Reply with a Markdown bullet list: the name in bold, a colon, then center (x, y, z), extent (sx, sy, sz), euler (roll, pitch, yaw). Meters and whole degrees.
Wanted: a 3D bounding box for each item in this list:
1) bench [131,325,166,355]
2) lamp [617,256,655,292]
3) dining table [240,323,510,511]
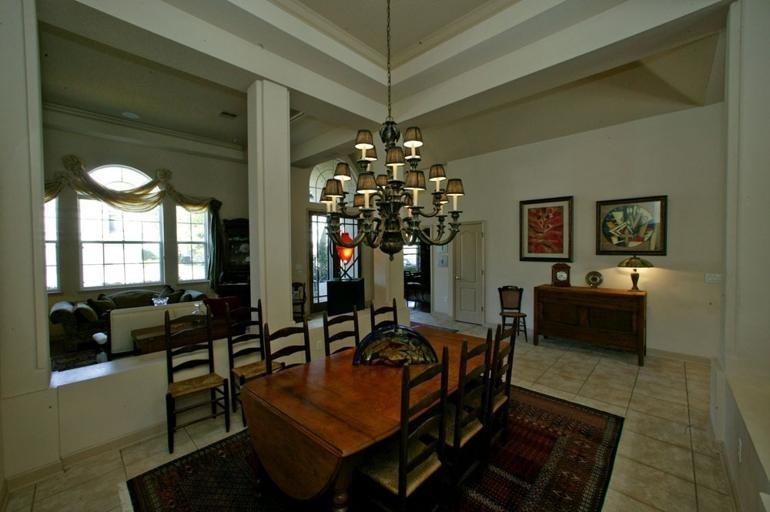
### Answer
- **bench**: center (-3.070, 1.118, 6.878), extent (0.386, 0.295, 0.647), euler (-5, 3, -28)
- **lamp**: center (3.793, 0.283, 8.085), extent (0.490, 0.602, 0.506), euler (0, -3, 16)
- **dining table**: center (-0.708, 1.615, 5.590), extent (1.607, 0.690, 2.794), euler (5, 7, 38)
